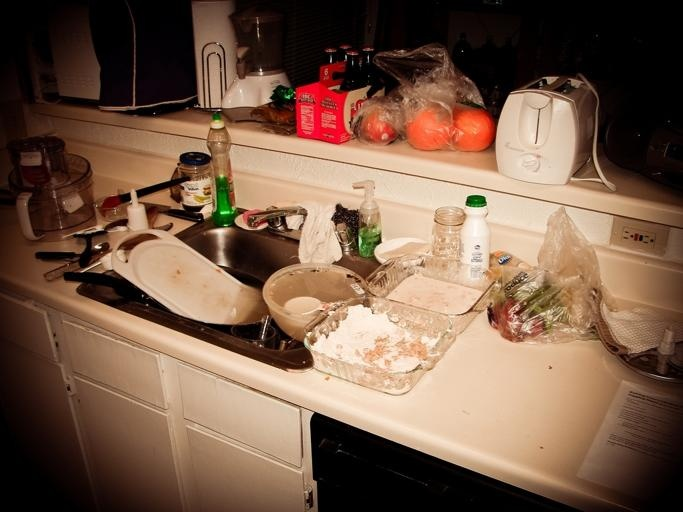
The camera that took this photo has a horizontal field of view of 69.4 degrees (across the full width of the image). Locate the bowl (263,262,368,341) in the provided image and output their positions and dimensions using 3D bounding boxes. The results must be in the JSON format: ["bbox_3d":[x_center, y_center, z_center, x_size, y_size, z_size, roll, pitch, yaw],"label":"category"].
[{"bbox_3d":[-0.076,0.093,1.281,0.214,0.089,0.208,-2,30,1],"label":"bowl"}]

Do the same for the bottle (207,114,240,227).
[{"bbox_3d":[-0.384,-0.272,1.579,0.081,0.357,0.123,-4,21,-12],"label":"bottle"}]

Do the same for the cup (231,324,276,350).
[{"bbox_3d":[-0.216,0.187,1.249,0.066,0.062,0.083,-12,27,-27],"label":"cup"}]

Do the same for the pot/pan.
[{"bbox_3d":[-0.469,0.137,1.302,0.386,0.055,0.244,17,26,-8],"label":"pot/pan"}]

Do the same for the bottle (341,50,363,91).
[{"bbox_3d":[0.031,-0.569,1.514,0.063,0.118,0.103,9,21,20],"label":"bottle"}]

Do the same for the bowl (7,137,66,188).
[{"bbox_3d":[-0.998,-0.308,1.629,0.159,0.151,0.140,-10,23,-28],"label":"bowl"}]

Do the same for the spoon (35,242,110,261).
[{"bbox_3d":[-0.805,-0.013,1.488,0.198,0.037,0.096,3,20,5],"label":"spoon"}]

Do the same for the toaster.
[{"bbox_3d":[0.567,-0.356,1.341,0.214,0.223,0.310,20,40,35],"label":"toaster"}]

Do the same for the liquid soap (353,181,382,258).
[{"bbox_3d":[0.088,-0.107,1.455,0.069,0.224,0.100,-14,25,-35],"label":"liquid soap"}]

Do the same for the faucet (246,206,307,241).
[{"bbox_3d":[-0.207,-0.108,1.559,0.141,0.064,0.040,-1,-12,-13],"label":"faucet"}]

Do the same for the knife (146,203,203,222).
[{"bbox_3d":[-0.563,-0.146,1.668,0.204,0.018,0.036,14,40,29],"label":"knife"}]

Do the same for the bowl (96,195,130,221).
[{"bbox_3d":[-0.777,-0.172,1.695,0.096,0.052,0.096,3,24,-1],"label":"bowl"}]

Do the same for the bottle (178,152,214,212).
[{"bbox_3d":[-0.497,-0.248,1.693,0.116,0.178,0.120,3,25,-1],"label":"bottle"}]

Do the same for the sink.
[{"bbox_3d":[-0.379,0.082,1.371,0.432,0.085,0.313,21,38,-10],"label":"sink"}]

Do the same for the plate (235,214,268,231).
[{"bbox_3d":[-0.304,-0.114,1.594,0.073,0.015,0.071,-3,38,-9],"label":"plate"}]
